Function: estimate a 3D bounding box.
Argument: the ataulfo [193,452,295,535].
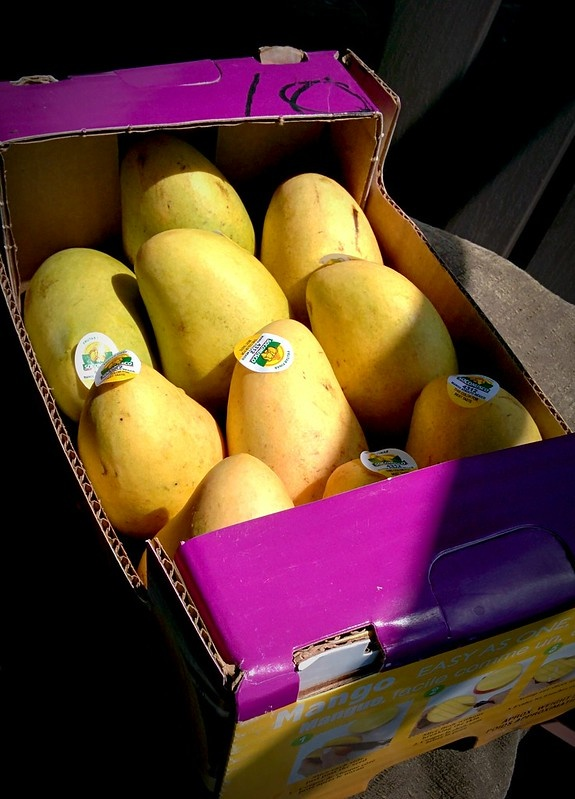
[{"bbox_3d":[-0.043,0.093,0.655,0.100,0.076,0.075,6,25,-16],"label":"ataulfo"}]

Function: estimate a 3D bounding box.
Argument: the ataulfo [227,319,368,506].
[{"bbox_3d":[-0.016,0.005,0.800,0.120,0.131,0.194,-14,82,-61],"label":"ataulfo"}]

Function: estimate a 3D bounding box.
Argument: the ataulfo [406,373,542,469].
[{"bbox_3d":[0.187,0.040,0.752,0.090,0.114,0.097,1,27,-6],"label":"ataulfo"}]

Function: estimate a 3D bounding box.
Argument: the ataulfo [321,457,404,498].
[{"bbox_3d":[0.070,0.073,0.665,0.043,0.056,0.032,-26,93,-63],"label":"ataulfo"}]
